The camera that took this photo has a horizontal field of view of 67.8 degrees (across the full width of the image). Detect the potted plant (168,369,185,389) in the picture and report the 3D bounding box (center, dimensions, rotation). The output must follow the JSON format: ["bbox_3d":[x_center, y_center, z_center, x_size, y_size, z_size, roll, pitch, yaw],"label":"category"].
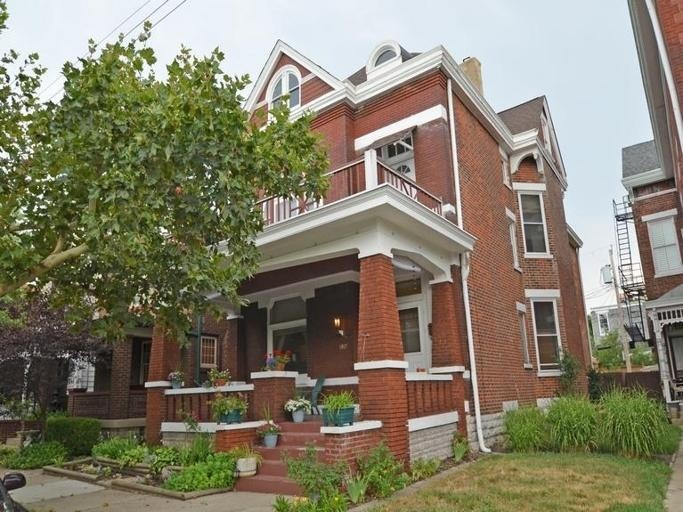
[{"bbox_3d":[-5.112,3.835,15.975,0.481,0.510,0.496,-12,-18,39],"label":"potted plant"}]

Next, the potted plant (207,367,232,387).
[{"bbox_3d":[-3.536,3.504,14.666,0.655,0.426,0.555,0,-7,-30],"label":"potted plant"}]

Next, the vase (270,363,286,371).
[{"bbox_3d":[-1.825,3.210,14.686,0.241,0.145,0.256,7,-29,-18],"label":"vase"}]

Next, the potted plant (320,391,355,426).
[{"bbox_3d":[-0.096,3.436,11.678,0.848,0.792,0.832,12,-25,-32],"label":"potted plant"}]

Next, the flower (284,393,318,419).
[{"bbox_3d":[-1.139,4.017,13.535,0.650,0.501,0.702,4,-11,3],"label":"flower"}]

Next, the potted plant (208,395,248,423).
[{"bbox_3d":[-2.956,4.023,13.361,0.727,0.582,0.784,2,-17,-8],"label":"potted plant"}]

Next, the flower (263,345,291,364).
[{"bbox_3d":[-1.918,3.047,15.848,0.802,0.557,0.907,12,-19,-37],"label":"flower"}]

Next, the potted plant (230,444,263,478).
[{"bbox_3d":[-2.330,4.993,12.360,0.567,0.550,0.720,-3,-23,4],"label":"potted plant"}]

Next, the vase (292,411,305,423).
[{"bbox_3d":[-1.119,4.211,13.381,0.268,0.223,0.276,2,-11,-27],"label":"vase"}]
